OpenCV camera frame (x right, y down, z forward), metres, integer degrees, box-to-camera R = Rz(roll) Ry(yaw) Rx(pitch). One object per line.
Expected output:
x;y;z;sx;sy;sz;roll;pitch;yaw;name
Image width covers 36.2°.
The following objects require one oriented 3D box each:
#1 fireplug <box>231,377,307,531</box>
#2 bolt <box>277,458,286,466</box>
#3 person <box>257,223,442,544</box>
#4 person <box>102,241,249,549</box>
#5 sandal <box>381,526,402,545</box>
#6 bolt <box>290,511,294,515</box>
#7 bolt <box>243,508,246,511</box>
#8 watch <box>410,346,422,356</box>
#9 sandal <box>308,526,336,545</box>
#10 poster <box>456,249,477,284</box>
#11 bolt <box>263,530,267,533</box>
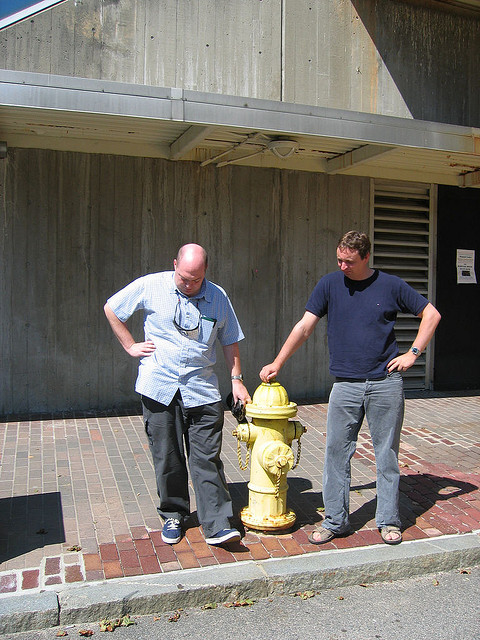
0.176;0.850;4.548;0.451;0.962;0.327;2;8;3;fireplug
0.251;0.851;4.387;0.052;0.044;0.012;-2;9;-26;bolt
0.717;0.411;4.499;0.917;1.880;0.453;4;9;14;person
-0.356;0.435;4.398;0.823;1.792;0.534;2;8;0;person
0.930;1.320;4.500;0.113;0.078;0.123;3;9;7;sandal
0.330;1.232;4.655;0.027;0.010;0.025;-8;19;-26;bolt
0.029;1.211;4.673;0.017;0.010;0.018;-2;20;4;bolt
1.070;0.181;4.484;0.048;0.060;0.022;15;50;45;watch
0.501;1.316;4.474;0.144;0.050;0.072;4;22;-31;sandal
2.976;-0.716;9.635;0.297;0.448;0.092;-2;9;-26;poster
0.151;1.301;4.509;0.020;0.021;0.005;0;4;7;bolt
